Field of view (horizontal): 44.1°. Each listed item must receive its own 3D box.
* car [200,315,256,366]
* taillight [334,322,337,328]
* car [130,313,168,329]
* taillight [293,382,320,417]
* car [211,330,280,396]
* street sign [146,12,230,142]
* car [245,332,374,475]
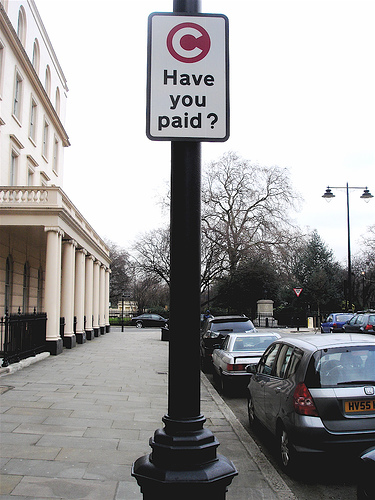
[{"bbox_3d":[1.153,3.000,14.620,1.417,1.527,3.287,0,-5,-3],"label":"car"},{"bbox_3d":[10.267,5.257,32.120,0.210,0.175,0.333,-2,38,15],"label":"taillight"},{"bbox_3d":[-3.874,7.049,45.743,3.257,1.217,1.777,-3,-5,16],"label":"car"},{"bbox_3d":[1.202,1.532,4.742,0.144,0.294,0.318,0,-5,-19],"label":"taillight"},{"bbox_3d":[1.106,2.539,10.733,0.947,0.832,2.293,-1,-6,-6],"label":"car"},{"bbox_3d":[0.002,-0.782,2.091,0.359,0.023,0.620,2,-42,1],"label":"street sign"},{"bbox_3d":[1.449,1.684,5.459,0.950,0.956,1.842,1,-6,-3],"label":"car"}]
